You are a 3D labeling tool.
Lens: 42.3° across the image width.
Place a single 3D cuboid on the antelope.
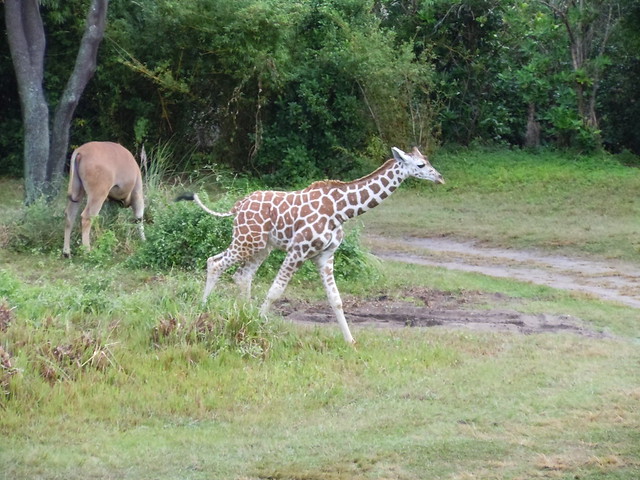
[{"bbox_3d":[-3.995,-1.094,16.412,0.777,2.585,3.363,2,1,18],"label":"antelope"}]
